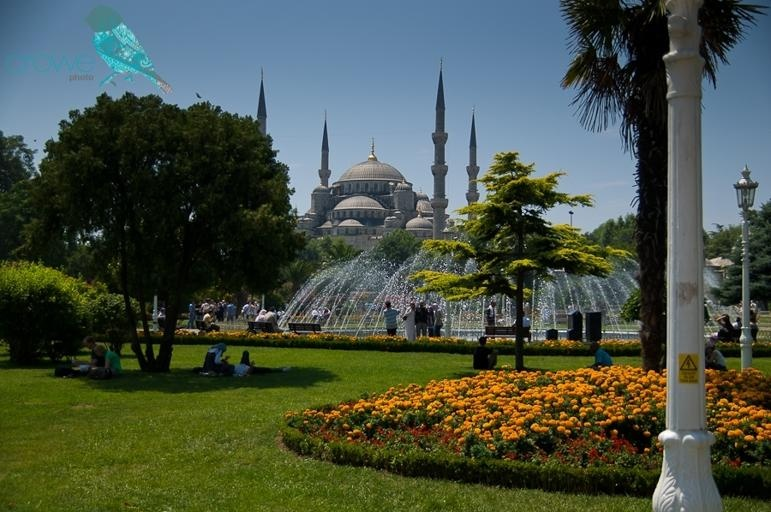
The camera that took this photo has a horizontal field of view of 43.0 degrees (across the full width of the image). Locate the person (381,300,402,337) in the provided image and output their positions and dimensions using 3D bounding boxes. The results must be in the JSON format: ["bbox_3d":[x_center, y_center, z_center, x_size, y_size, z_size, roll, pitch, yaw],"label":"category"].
[{"bbox_3d":[0.221,2.251,32.818,0.544,1.507,0.469,-4,16,-1],"label":"person"}]

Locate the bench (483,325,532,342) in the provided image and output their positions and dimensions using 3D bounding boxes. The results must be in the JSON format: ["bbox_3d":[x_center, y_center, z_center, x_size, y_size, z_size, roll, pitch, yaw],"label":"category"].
[{"bbox_3d":[3.960,2.545,31.893,1.261,0.587,2.948,1,-7,-3],"label":"bench"}]

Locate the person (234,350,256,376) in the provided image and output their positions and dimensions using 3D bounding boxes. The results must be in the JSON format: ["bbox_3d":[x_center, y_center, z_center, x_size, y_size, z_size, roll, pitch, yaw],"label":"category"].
[{"bbox_3d":[-3.678,2.833,25.564,0.585,0.406,1.244,5,4,-7],"label":"person"}]

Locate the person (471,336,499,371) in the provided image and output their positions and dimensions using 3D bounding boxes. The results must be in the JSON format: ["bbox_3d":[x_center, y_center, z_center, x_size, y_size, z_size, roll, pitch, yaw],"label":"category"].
[{"bbox_3d":[2.553,2.537,25.204,0.560,0.865,1.171,0,-7,5],"label":"person"}]

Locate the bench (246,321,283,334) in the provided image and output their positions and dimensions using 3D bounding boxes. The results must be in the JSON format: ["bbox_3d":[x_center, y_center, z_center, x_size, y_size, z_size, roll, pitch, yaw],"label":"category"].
[{"bbox_3d":[-4.404,2.532,34.548,0.903,0.467,1.537,4,-8,-24],"label":"bench"}]

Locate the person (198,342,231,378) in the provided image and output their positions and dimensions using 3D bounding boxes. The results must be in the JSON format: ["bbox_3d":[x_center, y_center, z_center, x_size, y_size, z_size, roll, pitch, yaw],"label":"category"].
[{"bbox_3d":[-4.211,2.595,24.386,0.938,0.815,0.490,0,-7,6],"label":"person"}]

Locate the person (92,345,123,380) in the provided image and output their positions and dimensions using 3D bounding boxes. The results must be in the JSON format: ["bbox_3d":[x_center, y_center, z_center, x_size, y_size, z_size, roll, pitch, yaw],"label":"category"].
[{"bbox_3d":[-6.717,2.529,23.338,0.620,0.833,0.608,1,-7,2],"label":"person"}]
